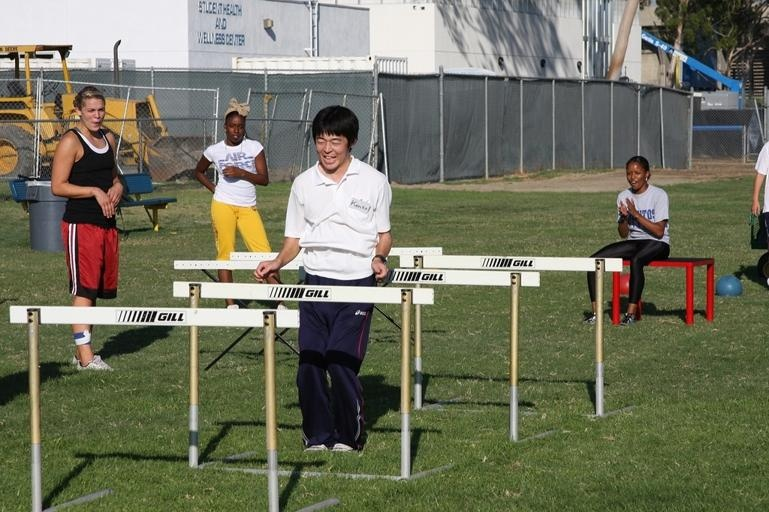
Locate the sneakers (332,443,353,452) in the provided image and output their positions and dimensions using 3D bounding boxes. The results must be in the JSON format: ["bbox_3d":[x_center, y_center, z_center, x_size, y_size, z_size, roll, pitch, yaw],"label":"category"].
[{"bbox_3d":[-0.473,2.190,14.107,0.167,0.059,0.110,9,-11,-7],"label":"sneakers"}]

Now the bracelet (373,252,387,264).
[{"bbox_3d":[-0.047,0.022,14.117,0.130,0.089,0.130,20,-32,-25],"label":"bracelet"}]

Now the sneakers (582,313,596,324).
[{"bbox_3d":[3.020,0.936,18.291,0.128,0.172,0.387,1,-7,25],"label":"sneakers"}]

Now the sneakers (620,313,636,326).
[{"bbox_3d":[3.517,0.928,18.040,0.105,0.129,0.296,1,3,29],"label":"sneakers"}]

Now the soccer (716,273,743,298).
[{"bbox_3d":[5.387,0.447,19.549,0.314,0.386,0.334,12,46,15],"label":"soccer"}]

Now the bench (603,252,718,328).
[{"bbox_3d":[4.175,0.390,18.258,1.128,0.925,1.198,2,5,18],"label":"bench"}]
